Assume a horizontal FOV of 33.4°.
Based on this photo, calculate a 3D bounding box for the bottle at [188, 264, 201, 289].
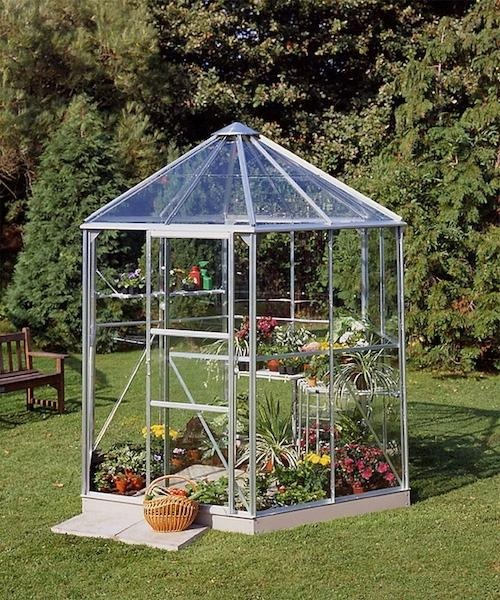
[{"bbox_3d":[-0.512,-0.210,7.765,0.115,0.217,0.051,0,4,-5],"label":"bottle"}]

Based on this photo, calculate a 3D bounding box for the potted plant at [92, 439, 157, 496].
[{"bbox_3d":[-1.091,1.505,7.533,0.557,0.352,0.601,3,6,31],"label":"potted plant"}]

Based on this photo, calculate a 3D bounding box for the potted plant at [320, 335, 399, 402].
[{"bbox_3d":[0.981,0.624,7.333,0.582,0.406,0.482,-1,0,18],"label":"potted plant"}]

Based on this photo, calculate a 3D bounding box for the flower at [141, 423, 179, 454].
[{"bbox_3d":[-0.800,1.279,7.791,0.294,0.233,0.308,0,2,-31],"label":"flower"}]

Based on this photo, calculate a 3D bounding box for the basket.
[{"bbox_3d":[-0.643,1.652,6.841,0.405,0.432,0.474,0,1,-7],"label":"basket"}]

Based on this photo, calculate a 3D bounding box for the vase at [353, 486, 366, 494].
[{"bbox_3d":[0.932,1.649,7.206,0.069,0.045,0.069,0,-3,-8],"label":"vase"}]

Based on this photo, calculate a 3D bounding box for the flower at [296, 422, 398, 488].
[{"bbox_3d":[0.874,1.387,7.245,0.883,0.591,0.379,1,5,3],"label":"flower"}]

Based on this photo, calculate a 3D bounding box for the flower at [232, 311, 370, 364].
[{"bbox_3d":[0.472,0.331,7.152,0.725,0.223,0.473,-2,6,-19],"label":"flower"}]

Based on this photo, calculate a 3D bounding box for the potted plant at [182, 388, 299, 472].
[{"bbox_3d":[-0.069,1.169,7.249,0.870,0.653,0.841,-5,-8,35],"label":"potted plant"}]

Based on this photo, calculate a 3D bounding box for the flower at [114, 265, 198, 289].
[{"bbox_3d":[-1.117,-0.262,9.750,0.579,0.192,0.394,-1,-4,-16],"label":"flower"}]
